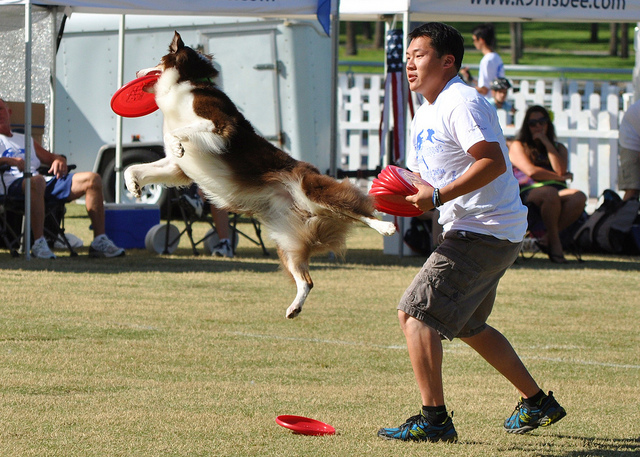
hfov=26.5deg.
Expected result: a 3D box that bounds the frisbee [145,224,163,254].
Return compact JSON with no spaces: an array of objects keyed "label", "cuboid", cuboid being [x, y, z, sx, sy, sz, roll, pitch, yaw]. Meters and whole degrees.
[{"label":"frisbee","cuboid":[-1.952,0.141,16.003,0.094,0.298,0.292,7,12,41]}]

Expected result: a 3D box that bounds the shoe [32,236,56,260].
[{"label":"shoe","cuboid":[-3.020,0.244,15.112,0.337,0.216,0.151,8,6,40]}]

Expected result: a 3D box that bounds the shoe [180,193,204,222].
[{"label":"shoe","cuboid":[-1.547,-0.252,16.622,0.139,0.203,0.469,7,-32,20]}]

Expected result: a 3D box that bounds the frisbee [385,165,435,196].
[{"label":"frisbee","cuboid":[0.784,-0.405,11.737,0.244,0.233,0.493,-4,8,-33]}]

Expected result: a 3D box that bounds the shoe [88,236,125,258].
[{"label":"shoe","cuboid":[-2.439,0.236,15.438,0.461,0.246,0.171,0,5,-2]}]

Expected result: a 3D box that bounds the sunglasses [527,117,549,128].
[{"label":"sunglasses","cuboid":[2.587,-1.251,16.131,0.234,0.122,0.101,1,6,9]}]

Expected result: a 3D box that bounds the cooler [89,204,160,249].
[{"label":"cooler","cuboid":[-2.377,-0.067,16.543,0.911,0.620,0.483,-1,0,-45]}]
